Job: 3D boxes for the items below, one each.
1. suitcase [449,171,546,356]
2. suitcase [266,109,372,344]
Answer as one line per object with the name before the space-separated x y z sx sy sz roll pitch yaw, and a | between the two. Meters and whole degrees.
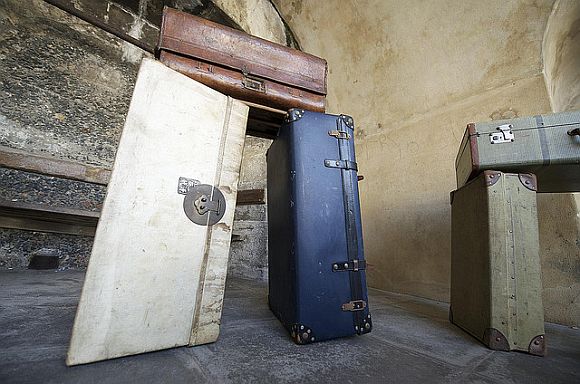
suitcase | 1.588 0.488 2.389 0.428 1.256 0.625 1 14 -2
suitcase | 0.213 0.221 2.534 0.703 1.719 0.827 -1 14 -12
